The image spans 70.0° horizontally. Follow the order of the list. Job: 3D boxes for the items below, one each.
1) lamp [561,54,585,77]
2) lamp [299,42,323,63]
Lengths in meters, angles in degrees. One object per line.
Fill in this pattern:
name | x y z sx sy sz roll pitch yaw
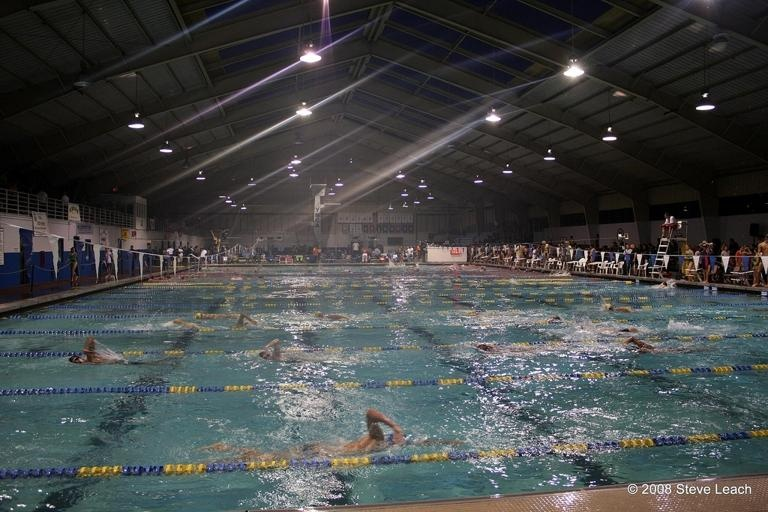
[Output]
lamp | 4.670 -4.767 13.615 0.359 0.611 1.068 2 6 21
lamp | -1.636 -4.576 12.233 0.407 0.499 0.856 -1 6 -5
